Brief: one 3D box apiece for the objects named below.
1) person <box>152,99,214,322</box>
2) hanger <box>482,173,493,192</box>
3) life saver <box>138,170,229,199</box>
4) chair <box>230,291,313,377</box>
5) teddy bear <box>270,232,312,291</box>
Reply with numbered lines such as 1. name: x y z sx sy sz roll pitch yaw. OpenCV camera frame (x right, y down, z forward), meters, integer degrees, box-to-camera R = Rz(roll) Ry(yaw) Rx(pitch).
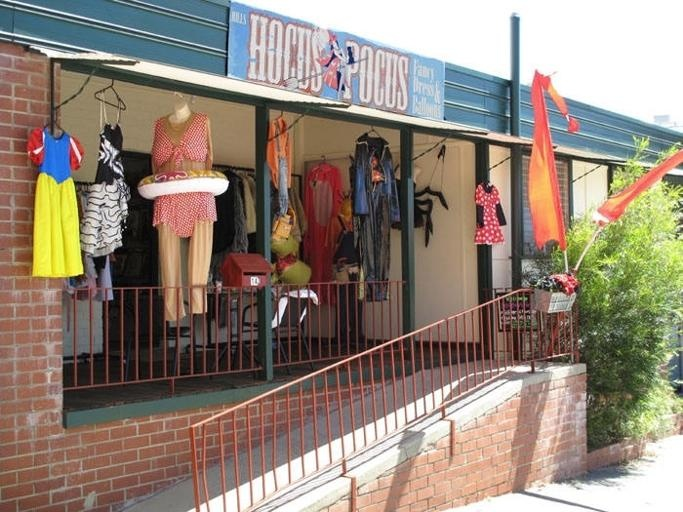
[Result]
1. person: -1.710 -0.503 8.224 0.741 2.391 0.697 -1 1 -39
2. hanger: 2.042 -1.054 10.738 0.159 0.296 0.226 -1 -3 5
3. life saver: -1.639 -0.756 7.977 0.890 0.300 0.557 1 4 -41
4. chair: -0.759 0.795 9.353 0.881 0.804 1.957 -1 -3 -7
5. teddy bear: -0.671 0.069 10.318 0.462 0.856 0.426 1 3 -42
